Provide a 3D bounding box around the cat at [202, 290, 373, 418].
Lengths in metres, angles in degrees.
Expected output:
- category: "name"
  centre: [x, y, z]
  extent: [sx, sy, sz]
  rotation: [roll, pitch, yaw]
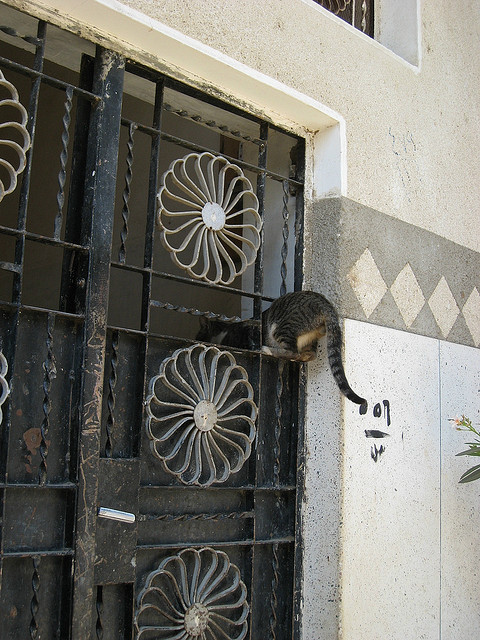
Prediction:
- category: "cat"
  centre: [0.207, 0.142, 3.690]
  extent: [0.522, 0.262, 0.143]
  rotation: [22, -28, 38]
